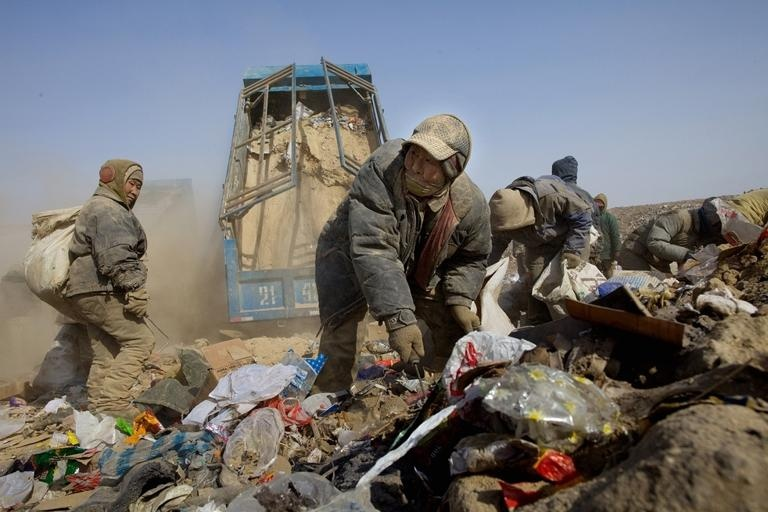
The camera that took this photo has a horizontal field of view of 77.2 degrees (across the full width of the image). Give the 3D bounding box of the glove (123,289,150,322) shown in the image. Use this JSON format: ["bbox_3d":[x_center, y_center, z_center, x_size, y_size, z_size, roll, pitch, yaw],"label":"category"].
[{"bbox_3d":[-2.540,0.457,4.908,0.252,0.316,0.189,-31,-52,30],"label":"glove"}]

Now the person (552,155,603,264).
[{"bbox_3d":[2.260,-0.488,5.766,0.488,1.309,1.084,-5,18,2],"label":"person"}]

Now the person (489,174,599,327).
[{"bbox_3d":[1.787,-0.111,5.695,1.270,1.786,1.156,-6,-6,26],"label":"person"}]

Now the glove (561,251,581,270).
[{"bbox_3d":[2.107,0.049,5.375,0.183,0.202,0.068,8,-25,-9],"label":"glove"}]

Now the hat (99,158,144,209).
[{"bbox_3d":[-2.765,-0.805,5.062,0.450,0.508,0.492,9,11,20],"label":"hat"}]

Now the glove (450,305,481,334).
[{"bbox_3d":[0.649,0.499,4.004,0.263,0.106,0.208,11,-36,35],"label":"glove"}]

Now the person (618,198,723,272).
[{"bbox_3d":[3.531,-0.222,6.006,1.239,0.811,0.807,-9,-7,44],"label":"person"}]

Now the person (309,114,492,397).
[{"bbox_3d":[0.119,0.069,3.895,1.407,2.027,1.100,-5,-5,20],"label":"person"}]

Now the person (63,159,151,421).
[{"bbox_3d":[-2.711,0.282,4.727,0.745,2.577,0.546,-2,-5,-23],"label":"person"}]

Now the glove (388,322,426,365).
[{"bbox_3d":[0.169,0.607,3.370,0.229,0.278,0.133,2,-11,-21],"label":"glove"}]
